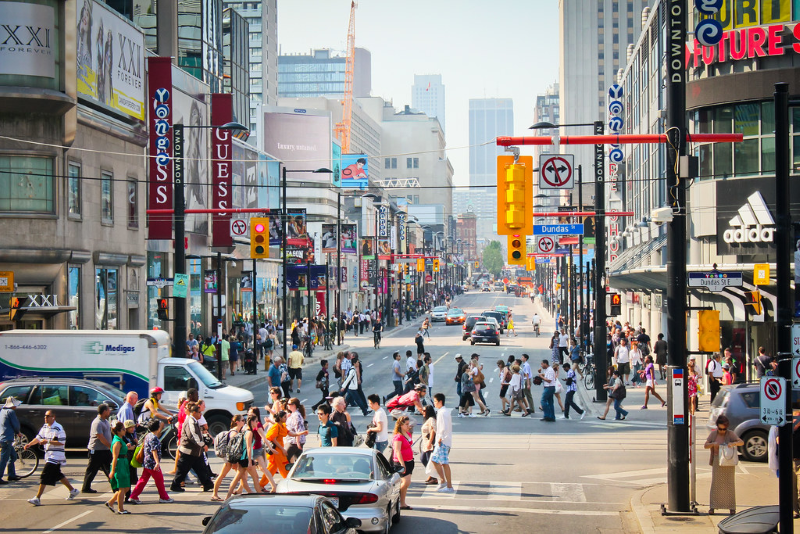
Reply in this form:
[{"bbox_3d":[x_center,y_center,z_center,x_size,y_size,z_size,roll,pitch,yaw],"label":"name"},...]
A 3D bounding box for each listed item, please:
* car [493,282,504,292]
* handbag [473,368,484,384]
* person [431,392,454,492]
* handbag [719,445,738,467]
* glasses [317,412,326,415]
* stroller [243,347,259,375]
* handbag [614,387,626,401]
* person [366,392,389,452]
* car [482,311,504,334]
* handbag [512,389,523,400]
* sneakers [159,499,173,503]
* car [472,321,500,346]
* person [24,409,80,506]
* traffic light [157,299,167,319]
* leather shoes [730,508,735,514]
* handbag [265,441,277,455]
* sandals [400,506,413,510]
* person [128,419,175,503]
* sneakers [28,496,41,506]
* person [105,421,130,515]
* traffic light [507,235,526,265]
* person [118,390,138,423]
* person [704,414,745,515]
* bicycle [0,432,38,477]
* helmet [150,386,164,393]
[{"bbox_3d":[20.459,3.883,281.737,2.888,2.180,1.952,0,-7,2],"label":"car"},{"bbox_3d":[3.262,4.582,58.119,0.435,0.626,0.574,-3,-5,7],"label":"handbag"},{"bbox_3d":[1.440,5.975,46.864,0.709,3.284,1.207,0,-1,1],"label":"person"},{"bbox_3d":[10.517,6.054,44.480,0.601,0.663,0.287,0,-6,0],"label":"handbag"},{"bbox_3d":[-2.576,4.913,46.453,0.288,0.115,0.146,0,-2,-5],"label":"glasses"},{"bbox_3d":[-7.656,4.789,69.854,0.875,1.252,0.888,1,-1,4],"label":"stroller"},{"bbox_3d":[8.990,5.148,56.788,0.431,0.593,0.450,-1,-1,5],"label":"handbag"},{"bbox_3d":[-0.785,5.417,47.720,0.631,1.983,1.559,0,-1,-1],"label":"person"},{"bbox_3d":[6.845,3.909,99.063,1.011,0.983,1.769,1,6,7],"label":"car"},{"bbox_3d":[4.959,5.354,58.191,0.463,0.445,0.334,-1,-1,6],"label":"handbag"},{"bbox_3d":[-7.742,7.765,45.952,0.319,0.139,0.171,-1,1,-4],"label":"sneakers"},{"bbox_3d":[5.343,4.217,86.774,1.238,1.078,2.395,1,2,6],"label":"car"},{"bbox_3d":[-11.616,6.331,46.041,1.140,3.051,1.307,-1,-2,37],"label":"person"},{"bbox_3d":[-9.941,1.781,58.030,0.387,0.885,0.710,0,-1,-16],"label":"traffic light"},{"bbox_3d":[10.661,7.847,44.448,0.108,0.135,0.139,5,2,-44],"label":"leather shoes"},{"bbox_3d":[-4.384,6.046,46.556,0.163,0.448,0.325,-43,12,-11],"label":"handbag"},{"bbox_3d":[0.233,7.891,45.464,0.323,0.086,0.125,-1,3,6],"label":"sandals"},{"bbox_3d":[-8.214,6.428,45.941,1.231,2.778,1.066,0,-1,-19],"label":"person"},{"bbox_3d":[-12.053,7.712,45.647,0.350,0.224,0.224,6,-5,-7],"label":"sneakers"},{"bbox_3d":[-9.148,6.550,45.234,0.835,2.967,0.673,-1,-1,35],"label":"person"},{"bbox_3d":[4.240,-0.590,50.221,0.660,0.995,2.512,-1,-2,5],"label":"traffic light"},{"bbox_3d":[-9.375,4.832,47.641,0.584,1.000,2.102,0,-2,-11],"label":"person"},{"bbox_3d":[10.387,6.372,44.657,1.042,3.169,0.634,-1,-1,6],"label":"person"},{"bbox_3d":[-13.460,6.675,48.833,1.418,1.664,0.832,-3,9,-2],"label":"bicycle"},{"bbox_3d":[-8.919,4.499,50.648,0.436,0.229,0.311,-5,6,-32],"label":"helmet"}]
